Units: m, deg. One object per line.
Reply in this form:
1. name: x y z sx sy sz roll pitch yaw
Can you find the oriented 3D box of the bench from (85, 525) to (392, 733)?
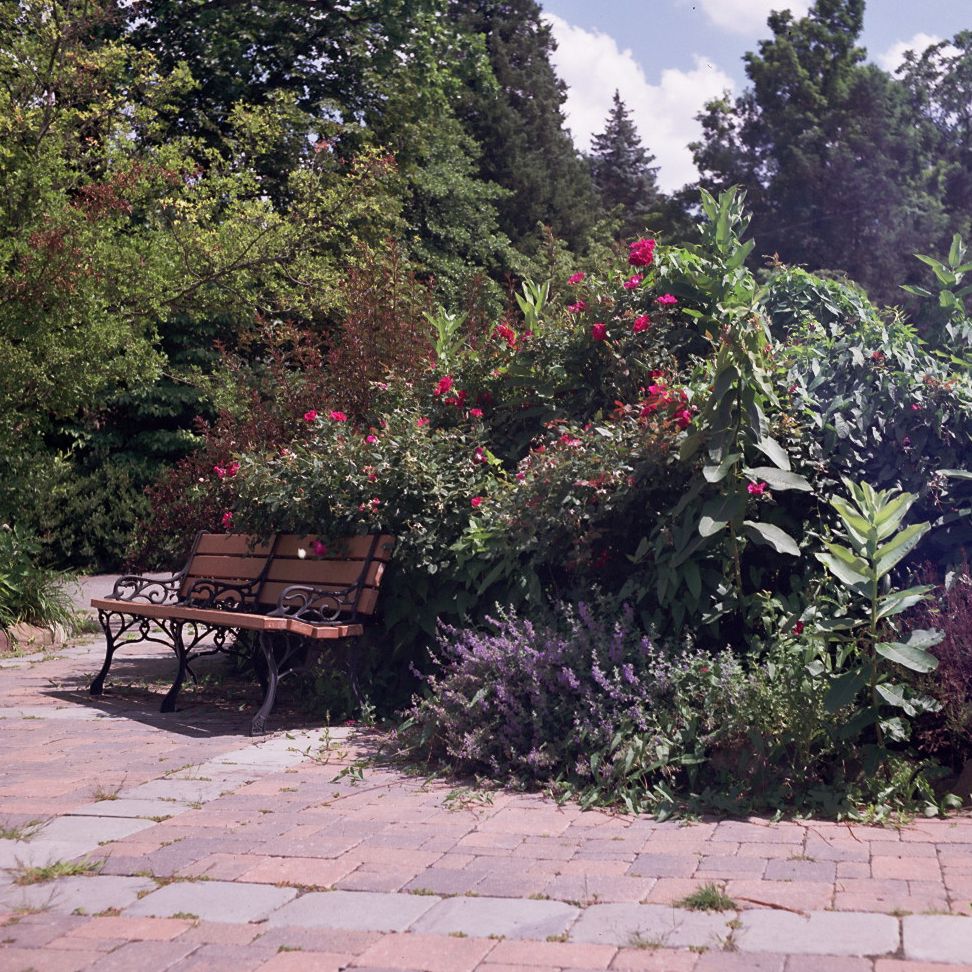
1. bench: -1.518 0.777 6.408 0.861 0.822 2.098 -7 3 -43
